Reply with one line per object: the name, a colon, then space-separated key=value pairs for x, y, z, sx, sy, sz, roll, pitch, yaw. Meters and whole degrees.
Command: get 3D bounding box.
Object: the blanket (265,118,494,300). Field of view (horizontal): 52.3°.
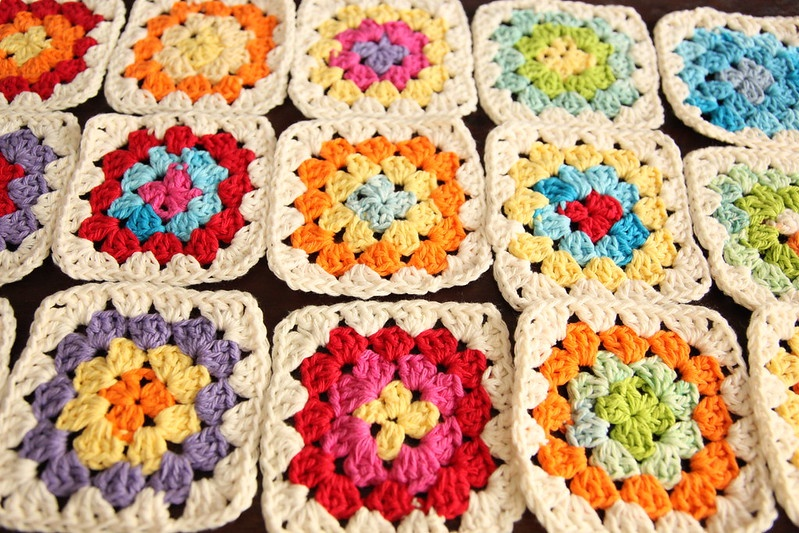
blanket: x=-0.059 y=-0.171 z=2.242 sx=0.603 sy=0.077 sz=0.525 roll=-3 pitch=79 yaw=2
